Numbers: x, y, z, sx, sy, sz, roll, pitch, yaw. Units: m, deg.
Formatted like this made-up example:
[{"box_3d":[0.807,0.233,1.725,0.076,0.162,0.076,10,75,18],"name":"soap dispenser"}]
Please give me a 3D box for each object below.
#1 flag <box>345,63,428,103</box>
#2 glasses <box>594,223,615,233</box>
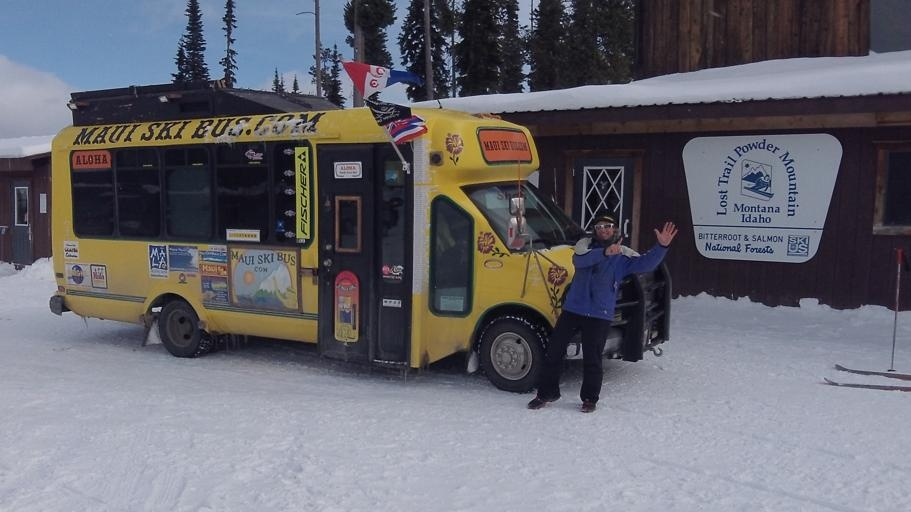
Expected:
[{"box_3d":[-1.283,-3.014,13.577,1.142,0.735,2.452,-4,6,-7],"name":"flag"},{"box_3d":[2.425,-0.464,13.045,0.312,0.136,0.107,-2,6,10],"name":"glasses"}]
